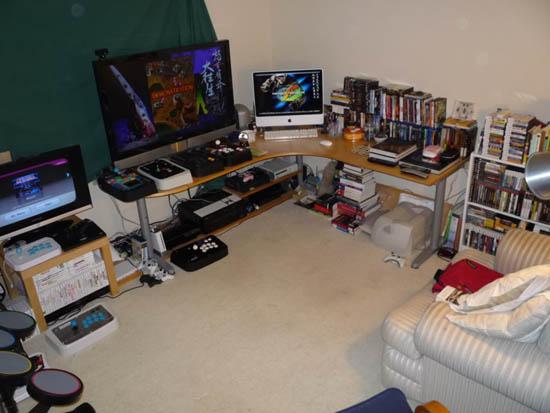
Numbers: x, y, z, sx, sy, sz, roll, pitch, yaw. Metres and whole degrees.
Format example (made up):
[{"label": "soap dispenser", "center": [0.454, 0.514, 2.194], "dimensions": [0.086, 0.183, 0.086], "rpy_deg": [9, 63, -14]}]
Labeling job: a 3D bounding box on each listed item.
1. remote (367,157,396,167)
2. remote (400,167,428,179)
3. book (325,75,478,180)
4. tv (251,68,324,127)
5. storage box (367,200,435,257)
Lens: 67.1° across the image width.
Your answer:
[{"label": "remote", "center": [1.001, -0.413, 3.883], "dimensions": [0.150, 0.029, 0.106], "rpy_deg": [18, 37, 33]}, {"label": "remote", "center": [1.264, -0.310, 3.717], "dimensions": [0.200, 0.048, 0.098], "rpy_deg": [23, 44, 32]}, {"label": "book", "center": [1.210, -0.872, 4.168], "dimensions": [1.266, 0.446, 0.932], "rpy_deg": [25, 39, 36]}, {"label": "tv", "center": [0.149, -1.172, 4.496], "dimensions": [0.673, 0.491, 0.135], "rpy_deg": [-2, 32, 4]}, {"label": "storage box", "center": [1.319, 0.200, 4.136], "dimensions": [0.399, 0.207, 0.574], "rpy_deg": [21, 40, 35]}]
